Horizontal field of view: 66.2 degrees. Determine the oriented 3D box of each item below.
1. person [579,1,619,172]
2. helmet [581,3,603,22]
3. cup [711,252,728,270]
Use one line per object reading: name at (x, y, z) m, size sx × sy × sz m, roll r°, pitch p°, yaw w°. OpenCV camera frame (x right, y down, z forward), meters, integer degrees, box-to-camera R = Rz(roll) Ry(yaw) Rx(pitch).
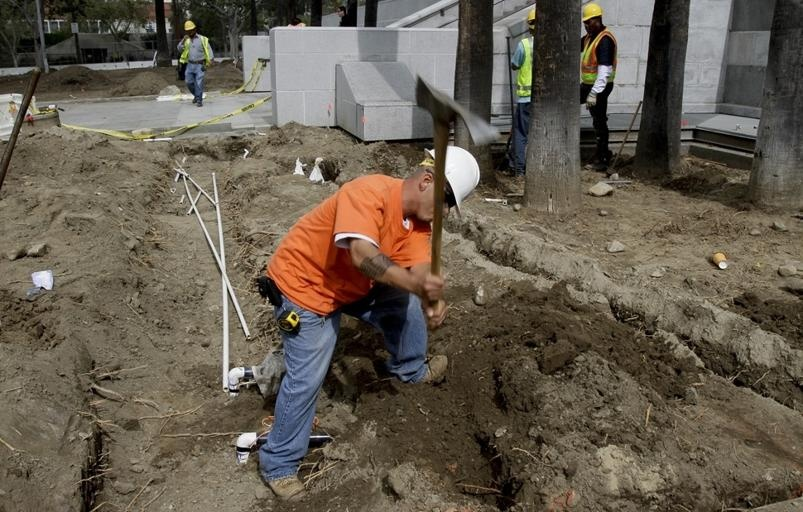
person at (3.259, -2.752, 10.226) m, size 0.663 × 2.635 × 0.969 m, roll 5°, pitch 21°, yaw 18°
helmet at (3.107, -3.943, 10.017) m, size 0.258 × 0.259 × 0.480 m, roll 4°, pitch 22°, yaw 13°
cup at (3.652, 0.059, 7.036) m, size 0.155 × 0.183 × 0.132 m, roll -9°, pitch 11°, yaw 9°
